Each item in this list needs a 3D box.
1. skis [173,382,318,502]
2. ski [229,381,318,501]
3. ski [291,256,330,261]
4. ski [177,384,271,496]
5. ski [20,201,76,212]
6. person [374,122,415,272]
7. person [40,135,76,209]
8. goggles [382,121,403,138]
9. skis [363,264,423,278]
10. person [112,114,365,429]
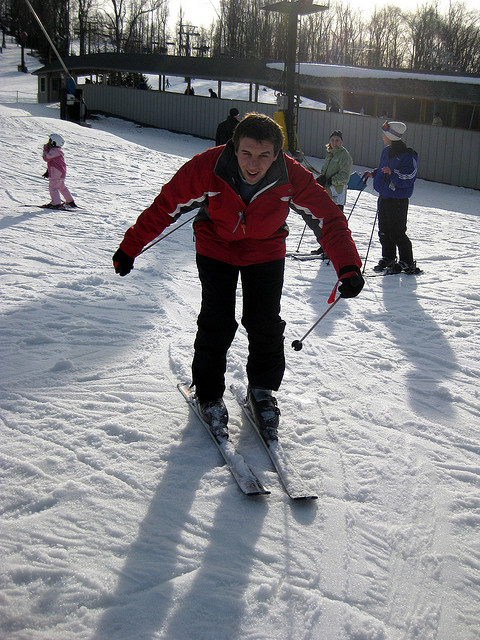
[{"bbox_3d":[-0.021,0.515,2.776,0.258,0.035,0.804,-4,19,-18],"label":"skis"},{"bbox_3d":[0.128,0.480,2.951,0.131,0.058,1.123,6,15,-15],"label":"ski"},{"bbox_3d":[0.800,-0.705,7.364,0.413,0.031,0.163,2,12,-2],"label":"ski"},{"bbox_3d":[-0.101,0.437,2.873,0.135,0.063,1.142,0,17,-16],"label":"ski"},{"bbox_3d":[-2.466,-1.469,8.344,0.660,0.067,0.209,-1,13,-16],"label":"ski"},{"bbox_3d":[1.630,-1.277,6.774,0.527,1.538,0.350,8,14,21],"label":"person"},{"bbox_3d":[-2.415,-1.933,8.357,0.311,0.937,0.465,9,15,24],"label":"person"},{"bbox_3d":[1.562,-1.994,6.647,0.233,0.156,0.072,19,63,15],"label":"goggles"},{"bbox_3d":[1.608,-0.509,6.907,0.727,0.094,0.203,-4,18,-4],"label":"skis"},{"bbox_3d":[-0.002,-0.161,2.745,1.009,1.363,0.465,-1,14,-14],"label":"person"}]
